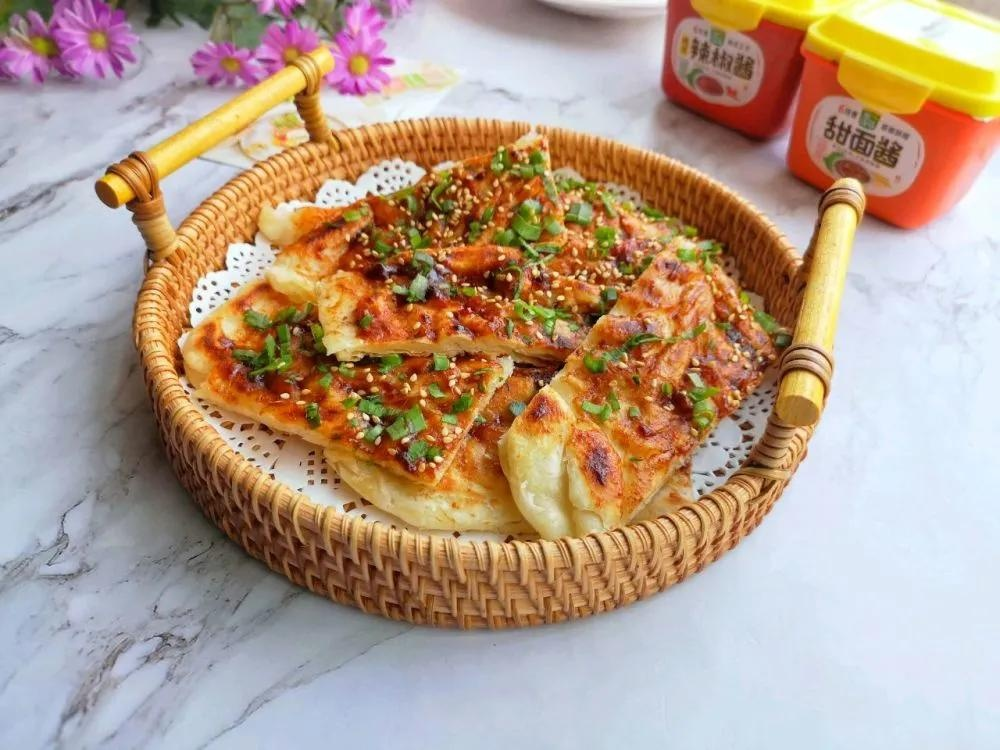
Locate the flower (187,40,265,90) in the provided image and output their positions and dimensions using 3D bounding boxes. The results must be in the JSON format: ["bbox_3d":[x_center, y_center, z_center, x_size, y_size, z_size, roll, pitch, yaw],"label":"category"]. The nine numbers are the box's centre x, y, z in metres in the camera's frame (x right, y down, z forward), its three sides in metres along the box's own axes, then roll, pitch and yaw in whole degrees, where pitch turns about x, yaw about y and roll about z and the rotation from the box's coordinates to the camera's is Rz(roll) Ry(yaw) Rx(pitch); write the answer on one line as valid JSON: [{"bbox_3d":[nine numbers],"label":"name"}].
[{"bbox_3d":[-1.084,-1.279,3.537,0.268,0.310,0.091,2,75,-6],"label":"flower"}]

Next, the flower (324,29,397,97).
[{"bbox_3d":[-0.577,-1.295,3.575,0.319,0.292,0.082,14,73,-36],"label":"flower"}]
